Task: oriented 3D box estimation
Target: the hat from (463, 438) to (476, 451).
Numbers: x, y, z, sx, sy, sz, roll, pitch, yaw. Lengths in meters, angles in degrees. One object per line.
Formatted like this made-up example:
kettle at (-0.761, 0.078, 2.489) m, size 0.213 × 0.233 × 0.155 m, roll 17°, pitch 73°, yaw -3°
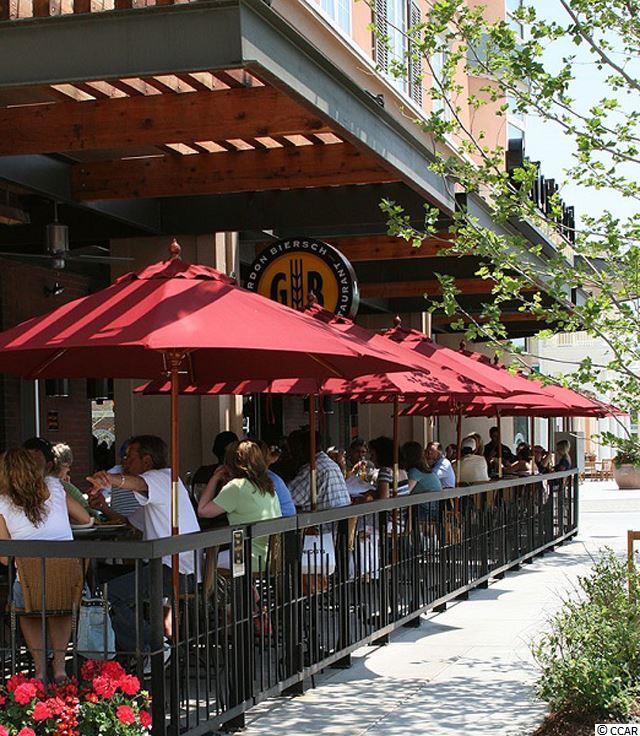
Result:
hat at (1.803, 0.902, 16.507) m, size 0.161 × 0.181 × 0.183 m, roll 9°, pitch -12°, yaw 8°

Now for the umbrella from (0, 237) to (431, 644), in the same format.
umbrella at (-0.727, 0.418, 8.004) m, size 2.229 × 1.703 × 2.123 m, roll 0°, pitch 5°, yaw -12°
